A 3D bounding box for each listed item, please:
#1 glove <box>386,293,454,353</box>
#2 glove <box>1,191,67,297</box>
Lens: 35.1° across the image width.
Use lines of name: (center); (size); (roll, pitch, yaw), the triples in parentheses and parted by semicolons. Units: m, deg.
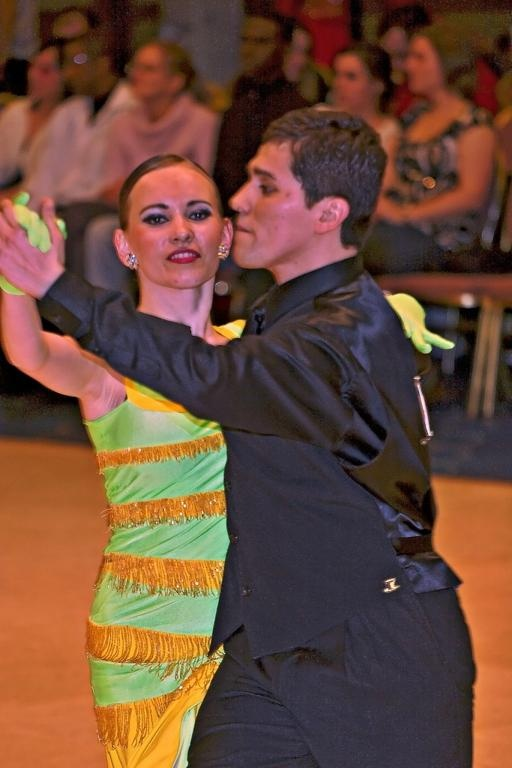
glove: (0.314, -0.147, 1.645); (0.172, 0.046, 0.104); (34, 2, 12)
glove: (-0.337, -0.213, 1.237); (0.148, 0.149, 0.050); (11, 20, 21)
